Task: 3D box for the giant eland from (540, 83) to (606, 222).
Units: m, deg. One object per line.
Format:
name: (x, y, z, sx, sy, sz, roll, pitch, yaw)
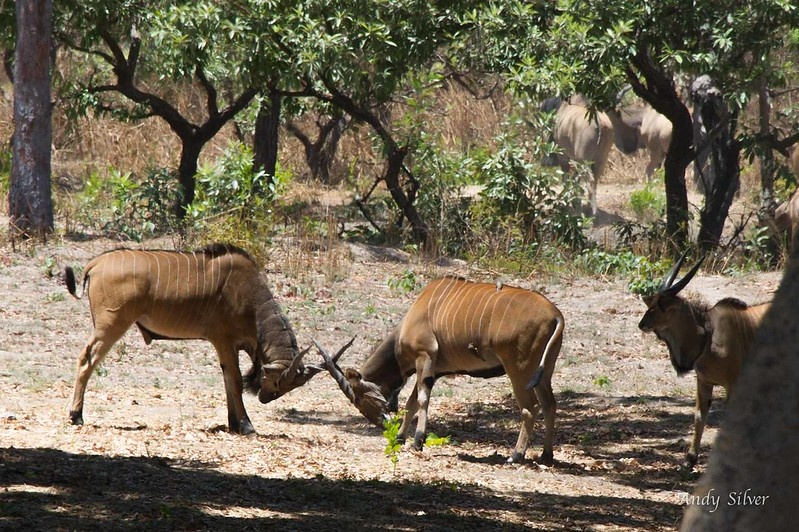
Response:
giant eland: (4.081, -2.604, 25.239, 1.248, 2.773, 2.526, 3, 4, -9)
